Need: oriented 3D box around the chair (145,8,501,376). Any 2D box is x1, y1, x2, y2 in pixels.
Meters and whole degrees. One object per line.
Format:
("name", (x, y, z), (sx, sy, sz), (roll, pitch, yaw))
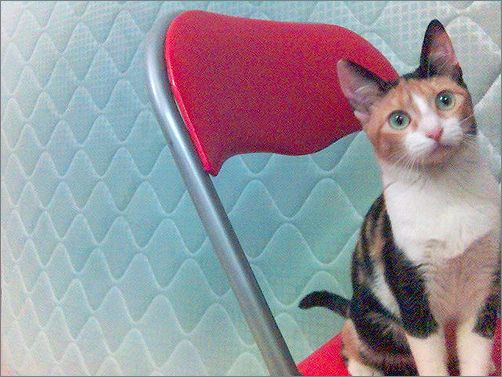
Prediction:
("chair", (0.063, -0.116, 1.900), (0.600, 1.184, 0.810), (-23, 6, -32))
